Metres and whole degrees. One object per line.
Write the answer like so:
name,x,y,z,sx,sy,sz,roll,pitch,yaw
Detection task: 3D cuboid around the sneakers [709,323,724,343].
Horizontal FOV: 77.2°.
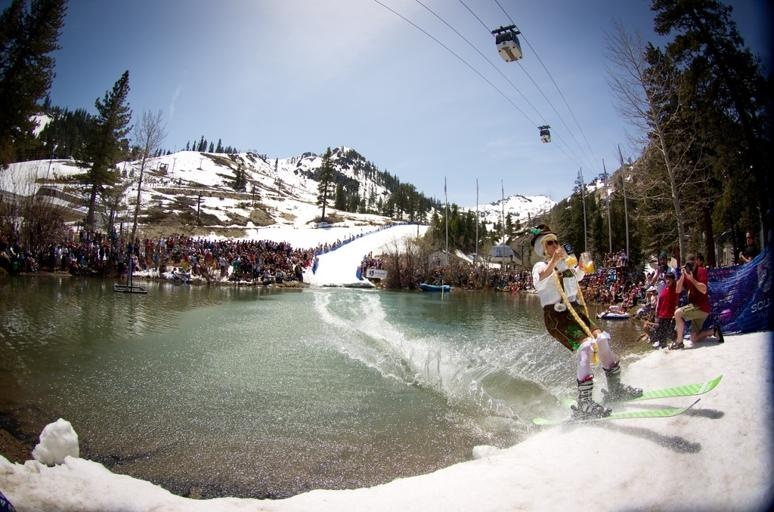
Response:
sneakers,8.866,2.056,13.051,0.219,0.628,0.198,-12,10,29

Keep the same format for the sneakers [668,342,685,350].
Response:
sneakers,8.087,2.510,13.571,0.428,0.216,0.156,4,-14,15

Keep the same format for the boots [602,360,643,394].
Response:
boots,5.052,2.672,10.379,0.718,0.794,0.347,-14,-8,41

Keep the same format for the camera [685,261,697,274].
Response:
camera,8.208,0.298,13.161,0.253,0.139,0.383,13,5,15
